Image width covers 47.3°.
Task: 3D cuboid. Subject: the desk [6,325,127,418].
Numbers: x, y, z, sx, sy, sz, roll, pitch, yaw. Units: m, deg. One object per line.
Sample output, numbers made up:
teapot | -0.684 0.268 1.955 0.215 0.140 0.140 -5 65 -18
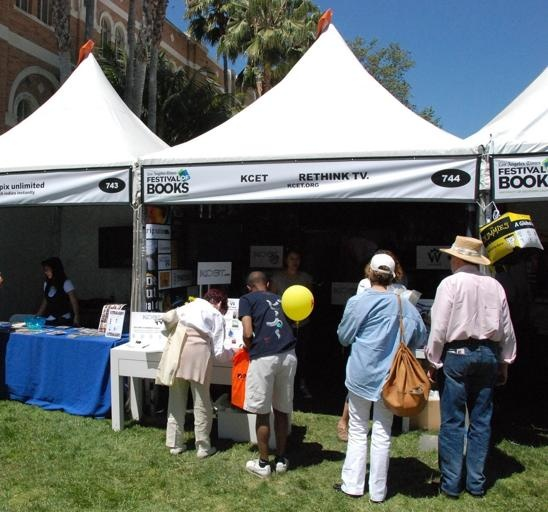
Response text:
desk | -2.214 1.212 6.518 1.400 0.778 0.234 4 7 26

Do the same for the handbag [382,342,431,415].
handbag | 1.010 0.967 4.735 0.322 0.542 0.411 0 11 28

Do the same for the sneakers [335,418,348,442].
sneakers | 0.641 1.646 5.939 0.141 0.284 0.203 0 -9 4

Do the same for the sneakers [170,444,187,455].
sneakers | -0.848 1.728 5.541 0.133 0.065 0.057 -9 11 -35

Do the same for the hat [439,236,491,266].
hat | 1.532 -0.039 5.051 0.318 0.133 0.295 30 11 34

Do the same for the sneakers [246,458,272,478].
sneakers | -0.126 1.772 5.234 0.211 0.108 0.101 13 7 44

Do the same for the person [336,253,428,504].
person | 0.804 0.939 4.841 0.622 1.870 0.405 1 6 5

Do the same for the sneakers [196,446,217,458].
sneakers | -0.594 1.737 5.550 0.064 0.092 0.202 4 7 32

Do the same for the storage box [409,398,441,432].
storage box | 1.486 1.584 6.211 0.206 0.297 0.298 -3 -13 16

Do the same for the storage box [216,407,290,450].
storage box | -0.335 1.604 5.864 0.434 0.212 0.322 1 -2 35

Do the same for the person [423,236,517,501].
person | 1.550 0.854 4.990 0.657 1.983 0.457 -4 7 -37

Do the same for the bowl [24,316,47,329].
bowl | -2.702 0.773 7.121 0.166 0.141 0.176 0 -8 0

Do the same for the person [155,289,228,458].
person | -0.707 1.048 5.574 0.649 1.437 0.372 0 6 -6

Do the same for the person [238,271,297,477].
person | -0.060 0.997 5.228 0.455 1.644 0.395 2 6 15

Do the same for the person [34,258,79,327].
person | -2.668 0.414 7.727 0.449 0.860 1.259 -2 7 -21
